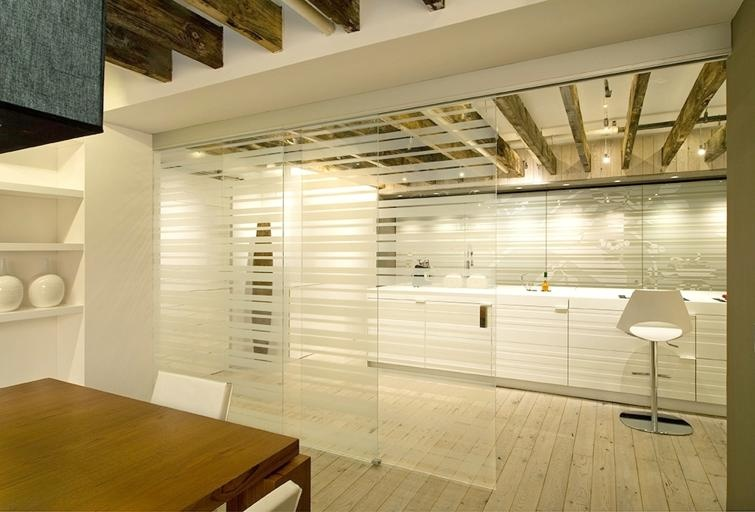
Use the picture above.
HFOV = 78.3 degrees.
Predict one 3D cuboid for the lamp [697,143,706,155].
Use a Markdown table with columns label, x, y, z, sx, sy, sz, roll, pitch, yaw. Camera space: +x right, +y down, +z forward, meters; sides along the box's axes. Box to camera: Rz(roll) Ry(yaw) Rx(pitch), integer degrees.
| label | x | y | z | sx | sy | sz | roll | pitch | yaw |
| --- | --- | --- | --- | --- | --- | --- | --- | --- | --- |
| lamp | 3.551 | -1.158 | 5.079 | 0.059 | 0.115 | 0.193 | 6 | 11 | 25 |

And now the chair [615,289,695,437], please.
| label | x | y | z | sx | sy | sz | roll | pitch | yaw |
| --- | --- | --- | --- | --- | --- | --- | --- | --- | --- |
| chair | 2.574 | 0.923 | 4.279 | 0.692 | 1.251 | 0.639 | 6 | 12 | 26 |
